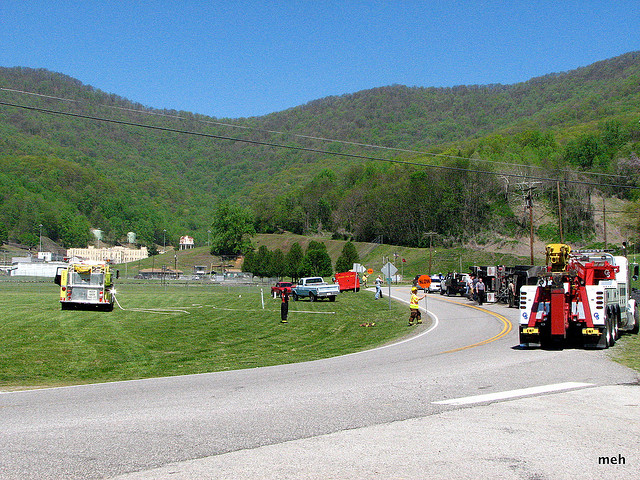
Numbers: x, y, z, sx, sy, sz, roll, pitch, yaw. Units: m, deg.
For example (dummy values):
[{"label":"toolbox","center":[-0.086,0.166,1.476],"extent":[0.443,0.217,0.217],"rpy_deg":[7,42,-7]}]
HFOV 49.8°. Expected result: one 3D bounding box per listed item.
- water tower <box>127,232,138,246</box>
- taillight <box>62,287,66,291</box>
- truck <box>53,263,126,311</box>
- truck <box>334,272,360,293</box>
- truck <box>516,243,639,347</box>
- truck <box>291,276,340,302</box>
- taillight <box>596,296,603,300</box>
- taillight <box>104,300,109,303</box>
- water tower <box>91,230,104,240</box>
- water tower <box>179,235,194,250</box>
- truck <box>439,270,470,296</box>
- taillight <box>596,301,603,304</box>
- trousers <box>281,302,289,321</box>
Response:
[{"label":"water tower","center":[-66.162,-0.774,241.432],"extent":[3.262,5.281,3.465],"rpy_deg":[1,-2,-12]},{"label":"taillight","center":[-13.817,2.657,37.110],"extent":[0.150,0.196,0.160],"rpy_deg":[5,25,23]},{"label":"truck","center":[-12.608,2.548,37.365],"extent":[2.645,2.117,3.532],"rpy_deg":[0,2,-4]},{"label":"truck","center":[2.594,4.084,66.054],"extent":[1.426,1.528,2.495],"rpy_deg":[0,3,5]},{"label":"truck","center":[9.689,2.093,25.670],"extent":[2.332,2.954,6.290],"rpy_deg":[0,0,27]},{"label":"truck","center":[-0.329,3.866,53.315],"extent":[1.457,1.751,4.203],"rpy_deg":[2,-3,-36]},{"label":"taillight","center":[9.312,1.953,22.876],"extent":[0.198,0.064,0.012],"rpy_deg":[0,-2,8]},{"label":"taillight","center":[-11.628,3.358,37.599],"extent":[0.156,0.168,0.089],"rpy_deg":[2,11,6]},{"label":"water tower","center":[-76.731,-1.493,236.054],"extent":[2.673,2.907,2.750],"rpy_deg":[-1,4,-16]},{"label":"water tower","center":[-46.996,1.372,240.998],"extent":[3.856,5.782,4.547],"rpy_deg":[0,2,5]},{"label":"truck","center":[11.968,3.973,61.176],"extent":[1.482,1.355,2.674],"rpy_deg":[0,1,-7]},{"label":"taillight","center":[9.310,2.087,22.875],"extent":[0.196,0.086,0.039],"rpy_deg":[1,-2,-1]},{"label":"trousers","center":[-1.795,3.648,35.055],"extent":[0.238,0.928,0.639],"rpy_deg":[0,-2,3]}]
